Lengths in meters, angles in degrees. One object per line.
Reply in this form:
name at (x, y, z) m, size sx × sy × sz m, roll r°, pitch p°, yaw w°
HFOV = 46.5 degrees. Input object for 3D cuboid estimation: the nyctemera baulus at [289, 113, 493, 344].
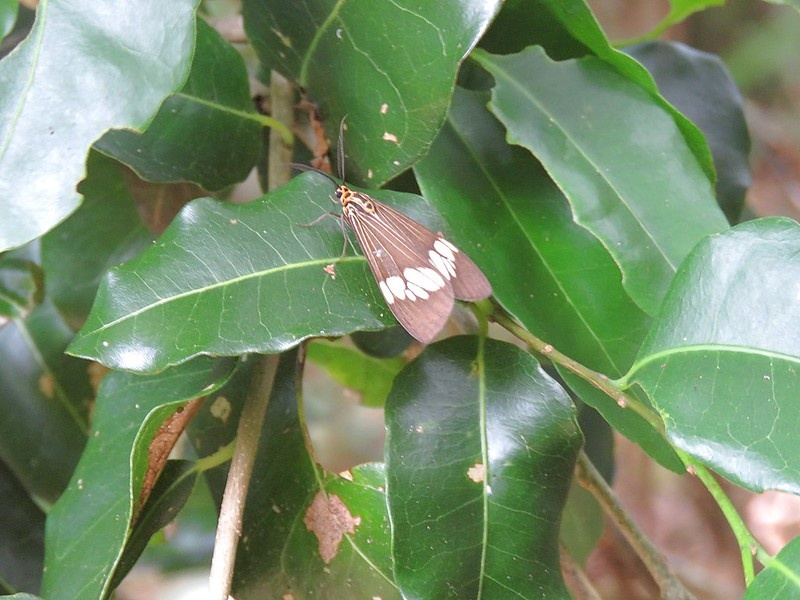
nyctemera baulus at (-0.015, -0.062, 1.204) m, size 0.148 × 0.300 × 0.083 m, roll -29°, pitch -13°, yaw -38°
